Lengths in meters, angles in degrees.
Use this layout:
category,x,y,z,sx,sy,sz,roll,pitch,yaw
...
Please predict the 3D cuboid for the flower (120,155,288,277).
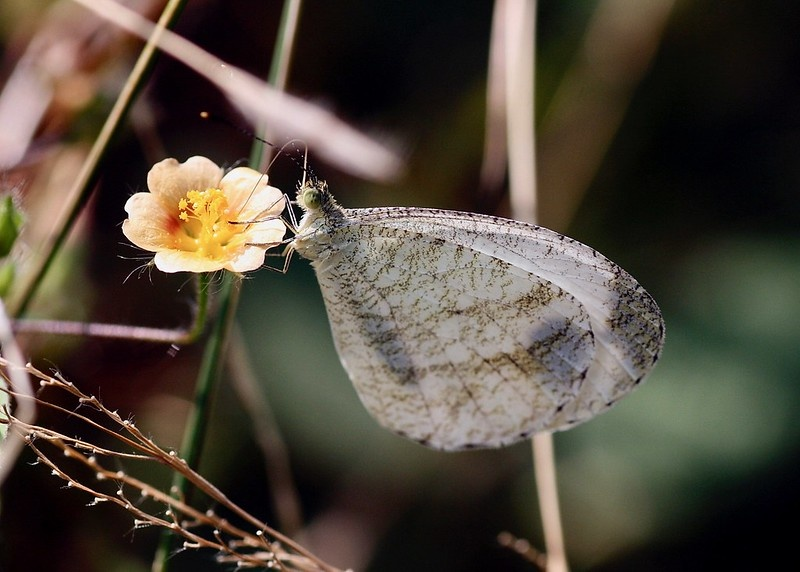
category,x,y,z,sx,sy,sz,roll,pitch,yaw
flower,-0.586,-0.189,2.361,0.441,0.491,0.190,-14,77,22
